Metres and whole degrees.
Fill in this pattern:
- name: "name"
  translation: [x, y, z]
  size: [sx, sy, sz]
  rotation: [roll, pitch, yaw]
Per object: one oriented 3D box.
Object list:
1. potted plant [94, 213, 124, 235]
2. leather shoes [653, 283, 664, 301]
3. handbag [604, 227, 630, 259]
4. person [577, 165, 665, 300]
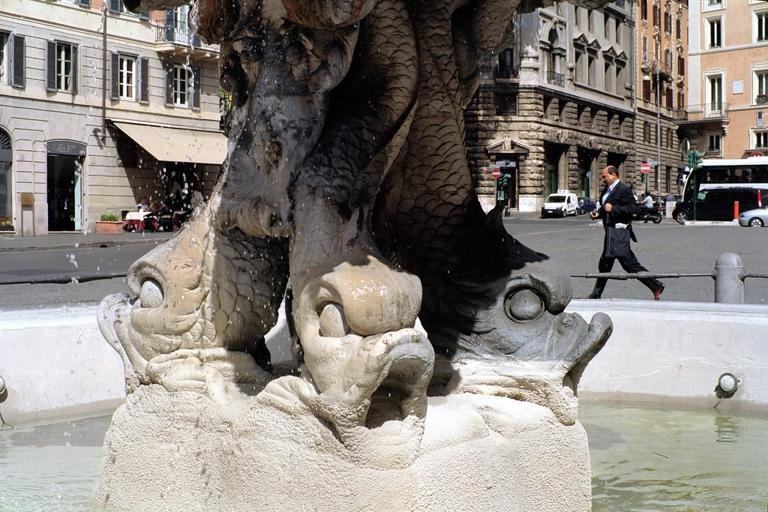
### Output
- name: "potted plant"
  translation: [-7.263, -0.819, 30.374]
  size: [0.692, 0.596, 0.485]
  rotation: [2, 0, 19]
- name: "leather shoes"
  translation: [3.104, 0.400, 12.969]
  size: [0.090, 0.131, 0.313]
  rotation: [-4, -18, 7]
- name: "handbag"
  translation: [2.775, -0.160, 13.645]
  size: [0.299, 0.358, 0.232]
  rotation: [0, 6, 11]
- name: "person"
  translation: [2.868, -0.212, 13.700]
  size: [0.782, 1.629, 2.590]
  rotation: [0, 7, 10]
